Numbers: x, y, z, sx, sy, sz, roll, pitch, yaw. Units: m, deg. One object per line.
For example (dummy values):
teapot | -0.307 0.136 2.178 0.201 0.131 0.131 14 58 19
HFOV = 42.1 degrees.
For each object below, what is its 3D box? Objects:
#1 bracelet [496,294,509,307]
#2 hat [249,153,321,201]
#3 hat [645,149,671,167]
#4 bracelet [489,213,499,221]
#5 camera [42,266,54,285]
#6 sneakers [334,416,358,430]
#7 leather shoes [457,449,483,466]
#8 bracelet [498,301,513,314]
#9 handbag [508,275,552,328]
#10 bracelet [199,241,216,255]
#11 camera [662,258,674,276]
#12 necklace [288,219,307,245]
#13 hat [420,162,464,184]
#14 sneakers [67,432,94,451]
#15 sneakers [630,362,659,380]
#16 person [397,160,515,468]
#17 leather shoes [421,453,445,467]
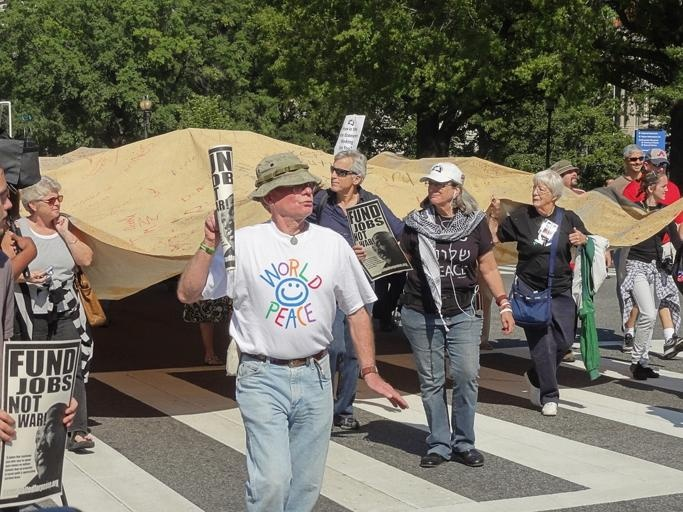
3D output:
bracelet | 1.426 0.379 7.773 0.102 0.081 0.113 -16 -7 -16
hat | -0.337 -0.507 5.356 0.340 0.158 0.342 -14 2 43
hat | 4.064 -1.281 11.347 0.227 0.150 0.315 2 3 -7
bracelet | 1.528 -0.409 8.738 0.083 0.032 0.102 7 -16 26
camera | -2.461 0.164 7.444 0.055 0.117 0.094 8 -13 -19
sneakers | 0.059 1.591 8.477 0.105 0.099 0.244 3 -2 -24
leather shoes | 1.101 1.698 7.504 0.110 0.074 0.234 -6 3 -30
bracelet | 1.458 0.449 7.778 0.108 0.108 0.049 1 -12 1
handbag | 1.885 0.452 8.684 0.569 0.645 0.326 1 -13 15
bracelet | -0.813 -0.055 5.303 0.083 0.038 0.081 30 -3 33
camera | 4.048 0.119 10.918 0.132 0.210 0.230 1 5 21
necklace | -0.264 -0.156 5.421 0.120 0.140 0.038 14 -8 -20
hat | 0.882 -0.713 7.534 0.331 0.153 0.223 5 1 -18
sneakers | -2.266 1.620 7.704 0.107 0.103 0.283 8 -13 -39
sneakers | 3.617 1.339 10.439 0.336 0.192 0.233 0 5 10
person | 0.935 0.479 7.526 0.824 2.542 0.570 0 5 9
leather shoes | 0.774 1.706 7.418 0.196 0.112 0.103 0 5 1
